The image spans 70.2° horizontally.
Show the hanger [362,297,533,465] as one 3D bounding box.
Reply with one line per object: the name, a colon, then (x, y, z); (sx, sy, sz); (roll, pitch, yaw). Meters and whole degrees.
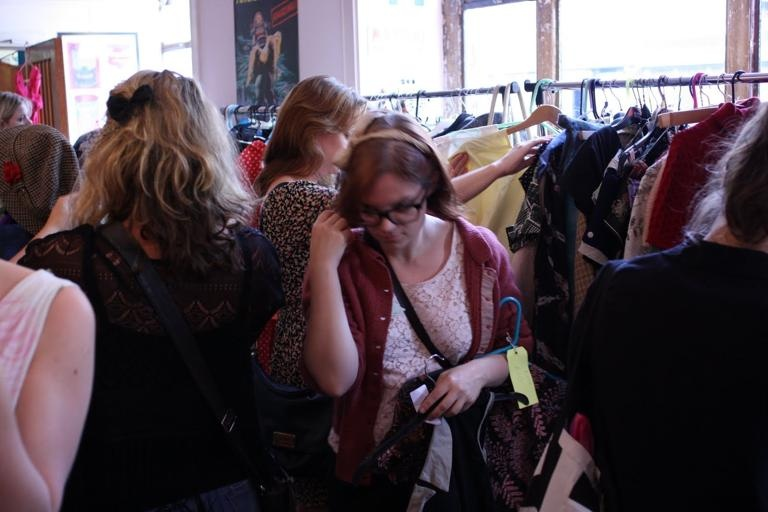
hanger: (0.205, 0.350, 1.377); (0.409, 0.111, 0.417); (-31, 48, -20)
